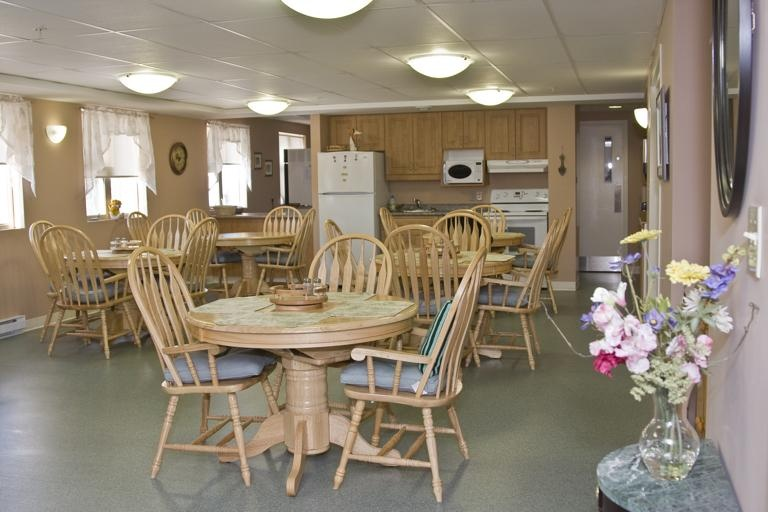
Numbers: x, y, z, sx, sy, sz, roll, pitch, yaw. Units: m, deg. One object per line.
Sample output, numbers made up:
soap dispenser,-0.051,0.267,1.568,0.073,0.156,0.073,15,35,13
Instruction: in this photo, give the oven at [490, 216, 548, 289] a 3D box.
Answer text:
oven,1.765,0.089,6.917,0.567,0.676,0.515,0,-9,-18

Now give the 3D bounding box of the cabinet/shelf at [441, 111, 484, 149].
cabinet/shelf,1.212,-1.930,8.500,0.559,0.473,0.245,1,4,16

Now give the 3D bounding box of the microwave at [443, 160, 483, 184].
microwave,1.236,-1.177,8.615,0.540,0.337,0.374,0,1,8

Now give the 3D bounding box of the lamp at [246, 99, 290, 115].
lamp,-1.560,-2.028,7.585,0.524,0.198,0.634,-2,8,-6

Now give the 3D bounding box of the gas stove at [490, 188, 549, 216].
gas stove,2.107,-0.852,8.664,0.793,0.504,0.497,3,16,17

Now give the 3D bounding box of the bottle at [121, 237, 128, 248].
bottle,-2.849,-0.138,6.096,0.104,0.113,0.114,-1,8,-24

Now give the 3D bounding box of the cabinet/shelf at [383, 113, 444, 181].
cabinet/shelf,0.479,-1.728,8.667,1.044,1.175,0.585,1,4,15

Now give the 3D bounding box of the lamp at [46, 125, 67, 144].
lamp,-4.005,-1.474,6.815,0.209,0.163,0.218,-1,-1,-14

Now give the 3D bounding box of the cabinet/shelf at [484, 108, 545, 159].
cabinet/shelf,1.984,-1.859,8.358,0.748,0.627,0.329,1,3,14

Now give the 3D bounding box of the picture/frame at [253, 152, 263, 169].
picture/frame,-2.337,-1.747,10.225,0.027,0.371,0.347,1,2,21

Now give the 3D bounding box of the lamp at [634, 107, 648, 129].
lamp,3.438,-1.846,7.462,0.131,0.293,0.719,3,9,23

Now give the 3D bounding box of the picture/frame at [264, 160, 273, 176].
picture/frame,-2.215,-1.661,10.542,0.026,0.329,0.338,1,2,21

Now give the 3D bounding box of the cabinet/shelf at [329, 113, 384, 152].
cabinet/shelf,-0.437,-1.932,8.820,0.900,0.575,0.160,2,10,19

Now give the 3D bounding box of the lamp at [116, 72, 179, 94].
lamp,-2.543,-1.877,6.146,0.583,0.191,0.836,-2,8,-10

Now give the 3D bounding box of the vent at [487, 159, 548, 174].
vent,1.995,-1.355,8.398,0.889,0.181,0.172,1,9,16
